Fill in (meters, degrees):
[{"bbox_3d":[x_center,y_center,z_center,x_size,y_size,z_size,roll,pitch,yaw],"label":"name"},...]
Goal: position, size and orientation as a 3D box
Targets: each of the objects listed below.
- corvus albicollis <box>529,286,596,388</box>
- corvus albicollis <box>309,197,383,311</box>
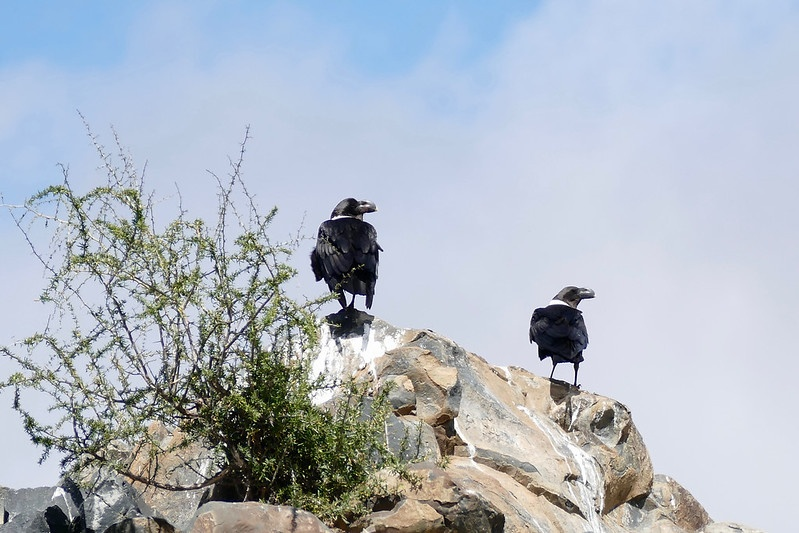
[{"bbox_3d":[2.513,1.092,25.726,1.016,1.585,0.801,-5,-18,8],"label":"corvus albicollis"},{"bbox_3d":[-0.680,-0.162,24.012,0.930,1.589,0.893,-15,-18,13],"label":"corvus albicollis"}]
